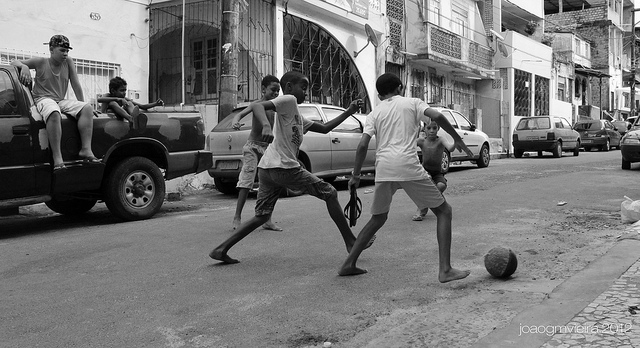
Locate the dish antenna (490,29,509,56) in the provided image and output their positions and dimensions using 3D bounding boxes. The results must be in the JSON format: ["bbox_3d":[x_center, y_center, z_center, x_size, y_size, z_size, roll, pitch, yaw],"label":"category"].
[{"bbox_3d":[13.218,-9.732,30.877,1.856,1.773,0.791,-7,12,-30],"label":"dish antenna"}]

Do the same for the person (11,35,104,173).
[{"bbox_3d":[-5.081,-1.390,8.147,1.130,2.606,1.121,-10,14,-41],"label":"person"}]

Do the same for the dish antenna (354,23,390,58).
[{"bbox_3d":[2.587,-6.759,21.523,0.707,1.616,2.429,5,12,28],"label":"dish antenna"}]

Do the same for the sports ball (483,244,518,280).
[{"bbox_3d":[2.540,1.200,5.777,0.448,0.439,0.432,16,-19,6],"label":"sports ball"}]

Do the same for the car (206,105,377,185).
[{"bbox_3d":[-0.969,-0.747,11.557,2.281,1.581,4.677,0,5,42],"label":"car"}]

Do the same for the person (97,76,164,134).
[{"bbox_3d":[-4.072,-1.506,8.897,1.452,1.138,0.911,5,2,37],"label":"person"}]
